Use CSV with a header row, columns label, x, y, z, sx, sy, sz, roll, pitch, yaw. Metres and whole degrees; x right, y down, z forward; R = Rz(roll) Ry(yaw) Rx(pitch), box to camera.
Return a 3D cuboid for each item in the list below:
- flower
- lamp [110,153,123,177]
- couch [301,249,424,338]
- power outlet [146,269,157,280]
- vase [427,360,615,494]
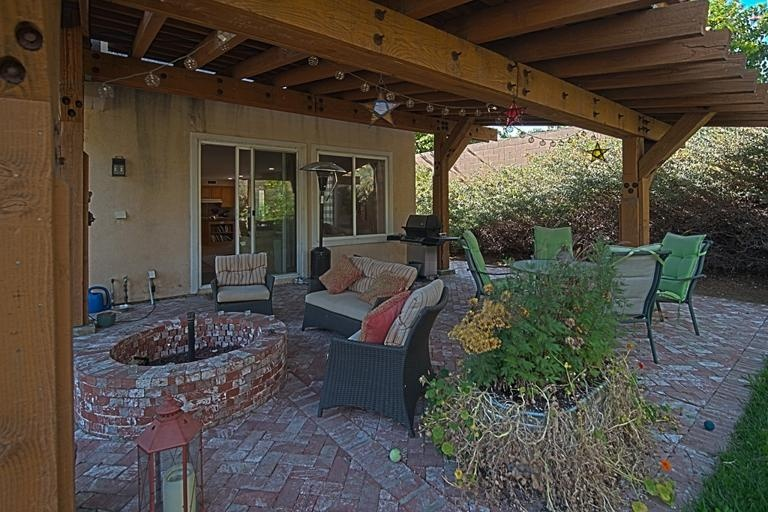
label,x,y,z,sx,sy,sz,roll,pitch,yaw
flower,1.100,0.507,3.423,0.901,0.783,1.242,-5,-7,33
lamp,-3.800,-1.295,6.915,0.177,0.289,0.081,-2,9,-14
couch,-0.308,0.414,5.461,0.890,1.107,1.557,8,-5,-44
power outlet,-3.465,0.276,7.195,0.099,0.194,0.136,9,11,37
vase,0.918,1.156,3.265,1.285,0.755,0.725,4,10,18
